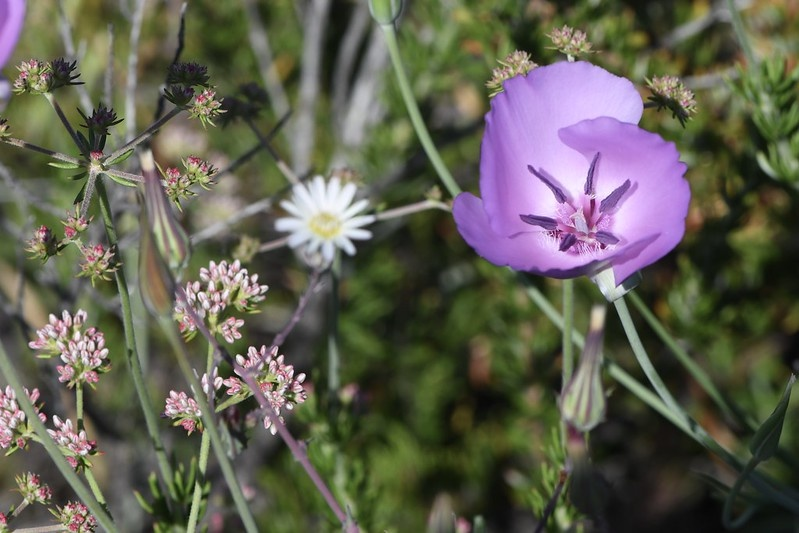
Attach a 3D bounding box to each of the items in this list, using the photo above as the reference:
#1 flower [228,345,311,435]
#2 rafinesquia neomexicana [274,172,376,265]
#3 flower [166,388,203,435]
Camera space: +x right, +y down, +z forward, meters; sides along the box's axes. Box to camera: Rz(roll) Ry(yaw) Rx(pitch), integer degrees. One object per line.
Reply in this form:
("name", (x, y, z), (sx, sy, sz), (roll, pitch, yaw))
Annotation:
("flower", (-0.189, 0.164, 1.377), (0.134, 0.109, 0.059), (-58, -1, -12))
("rafinesquia neomexicana", (-0.109, -0.072, 1.379), (0.141, 0.126, 0.046), (-19, -2, -9))
("flower", (-0.313, 0.208, 1.380), (0.072, 0.050, 0.073), (2, 6, -18))
